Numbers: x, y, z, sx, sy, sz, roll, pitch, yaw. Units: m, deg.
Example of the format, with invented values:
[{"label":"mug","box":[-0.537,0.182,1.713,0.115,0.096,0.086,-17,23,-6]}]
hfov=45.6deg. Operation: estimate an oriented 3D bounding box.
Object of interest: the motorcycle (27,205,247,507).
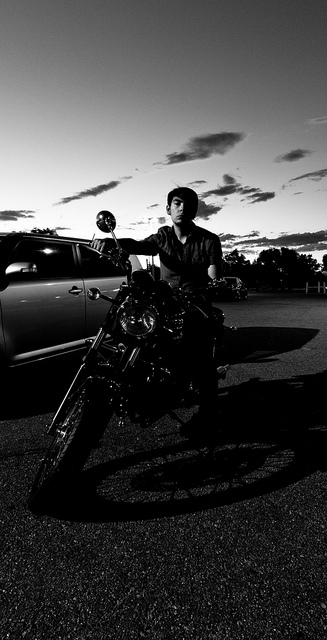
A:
[{"label":"motorcycle","box":[-0.003,0.159,2.490,0.750,1.441,2.009,17,18,29]}]

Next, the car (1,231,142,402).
[{"label":"car","box":[-1.346,-0.118,5.569,1.333,1.626,2.562,-1,-1,38]}]

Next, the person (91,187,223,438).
[{"label":"person","box":[0.086,0.016,2.712,0.558,1.927,0.918,-1,2,19]}]

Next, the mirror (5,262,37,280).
[{"label":"mirror","box":[-1.538,-0.532,4.211,0.322,0.147,0.770,-2,2,-20]}]

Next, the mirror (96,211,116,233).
[{"label":"mirror","box":[-0.276,-0.482,1.910,0.087,0.134,0.212,-2,2,-16]}]
